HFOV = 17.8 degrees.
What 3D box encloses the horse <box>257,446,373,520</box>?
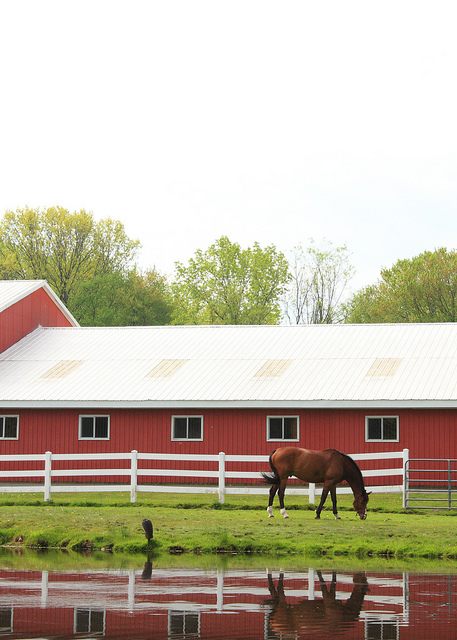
[{"bbox_3d":[1.704,3.202,28.633,2.327,1.202,1.618,4,16,34],"label":"horse"}]
